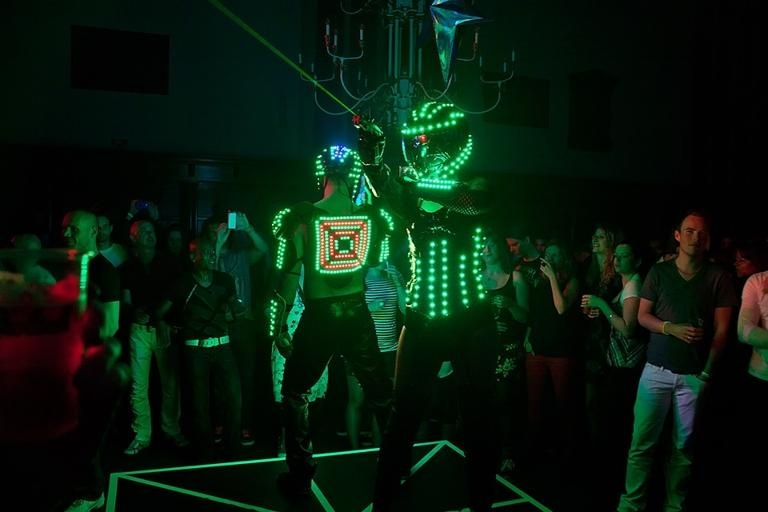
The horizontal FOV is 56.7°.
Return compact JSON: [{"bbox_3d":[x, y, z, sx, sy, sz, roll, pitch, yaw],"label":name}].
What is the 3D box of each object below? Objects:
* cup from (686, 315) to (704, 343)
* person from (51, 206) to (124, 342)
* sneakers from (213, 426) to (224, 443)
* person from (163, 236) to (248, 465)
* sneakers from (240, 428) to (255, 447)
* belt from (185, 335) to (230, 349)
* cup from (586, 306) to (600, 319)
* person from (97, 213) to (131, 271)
[{"bbox_3d":[3.675,0.849,8.348,0.208,0.316,0.177,2,3,21],"label":"cup"},{"bbox_3d":[-3.389,0.193,8.196,0.595,1.418,1.190,0,3,-22],"label":"person"},{"bbox_3d":[-2.395,2.561,10.149,0.168,0.250,0.089,-2,-25,13],"label":"sneakers"},{"bbox_3d":[-2.452,1.249,9.728,0.900,2.953,0.337,0,3,-19],"label":"person"},{"bbox_3d":[-1.984,2.601,10.156,0.213,0.109,0.297,5,20,-13],"label":"sneakers"},{"bbox_3d":[-2.437,1.167,9.656,0.569,0.165,0.102,0,3,-18],"label":"belt"},{"bbox_3d":[2.810,0.763,9.607,0.153,0.124,0.207,1,-2,3],"label":"cup"},{"bbox_3d":[-4.012,-0.179,10.470,0.771,0.729,0.418,-2,8,39],"label":"person"}]
